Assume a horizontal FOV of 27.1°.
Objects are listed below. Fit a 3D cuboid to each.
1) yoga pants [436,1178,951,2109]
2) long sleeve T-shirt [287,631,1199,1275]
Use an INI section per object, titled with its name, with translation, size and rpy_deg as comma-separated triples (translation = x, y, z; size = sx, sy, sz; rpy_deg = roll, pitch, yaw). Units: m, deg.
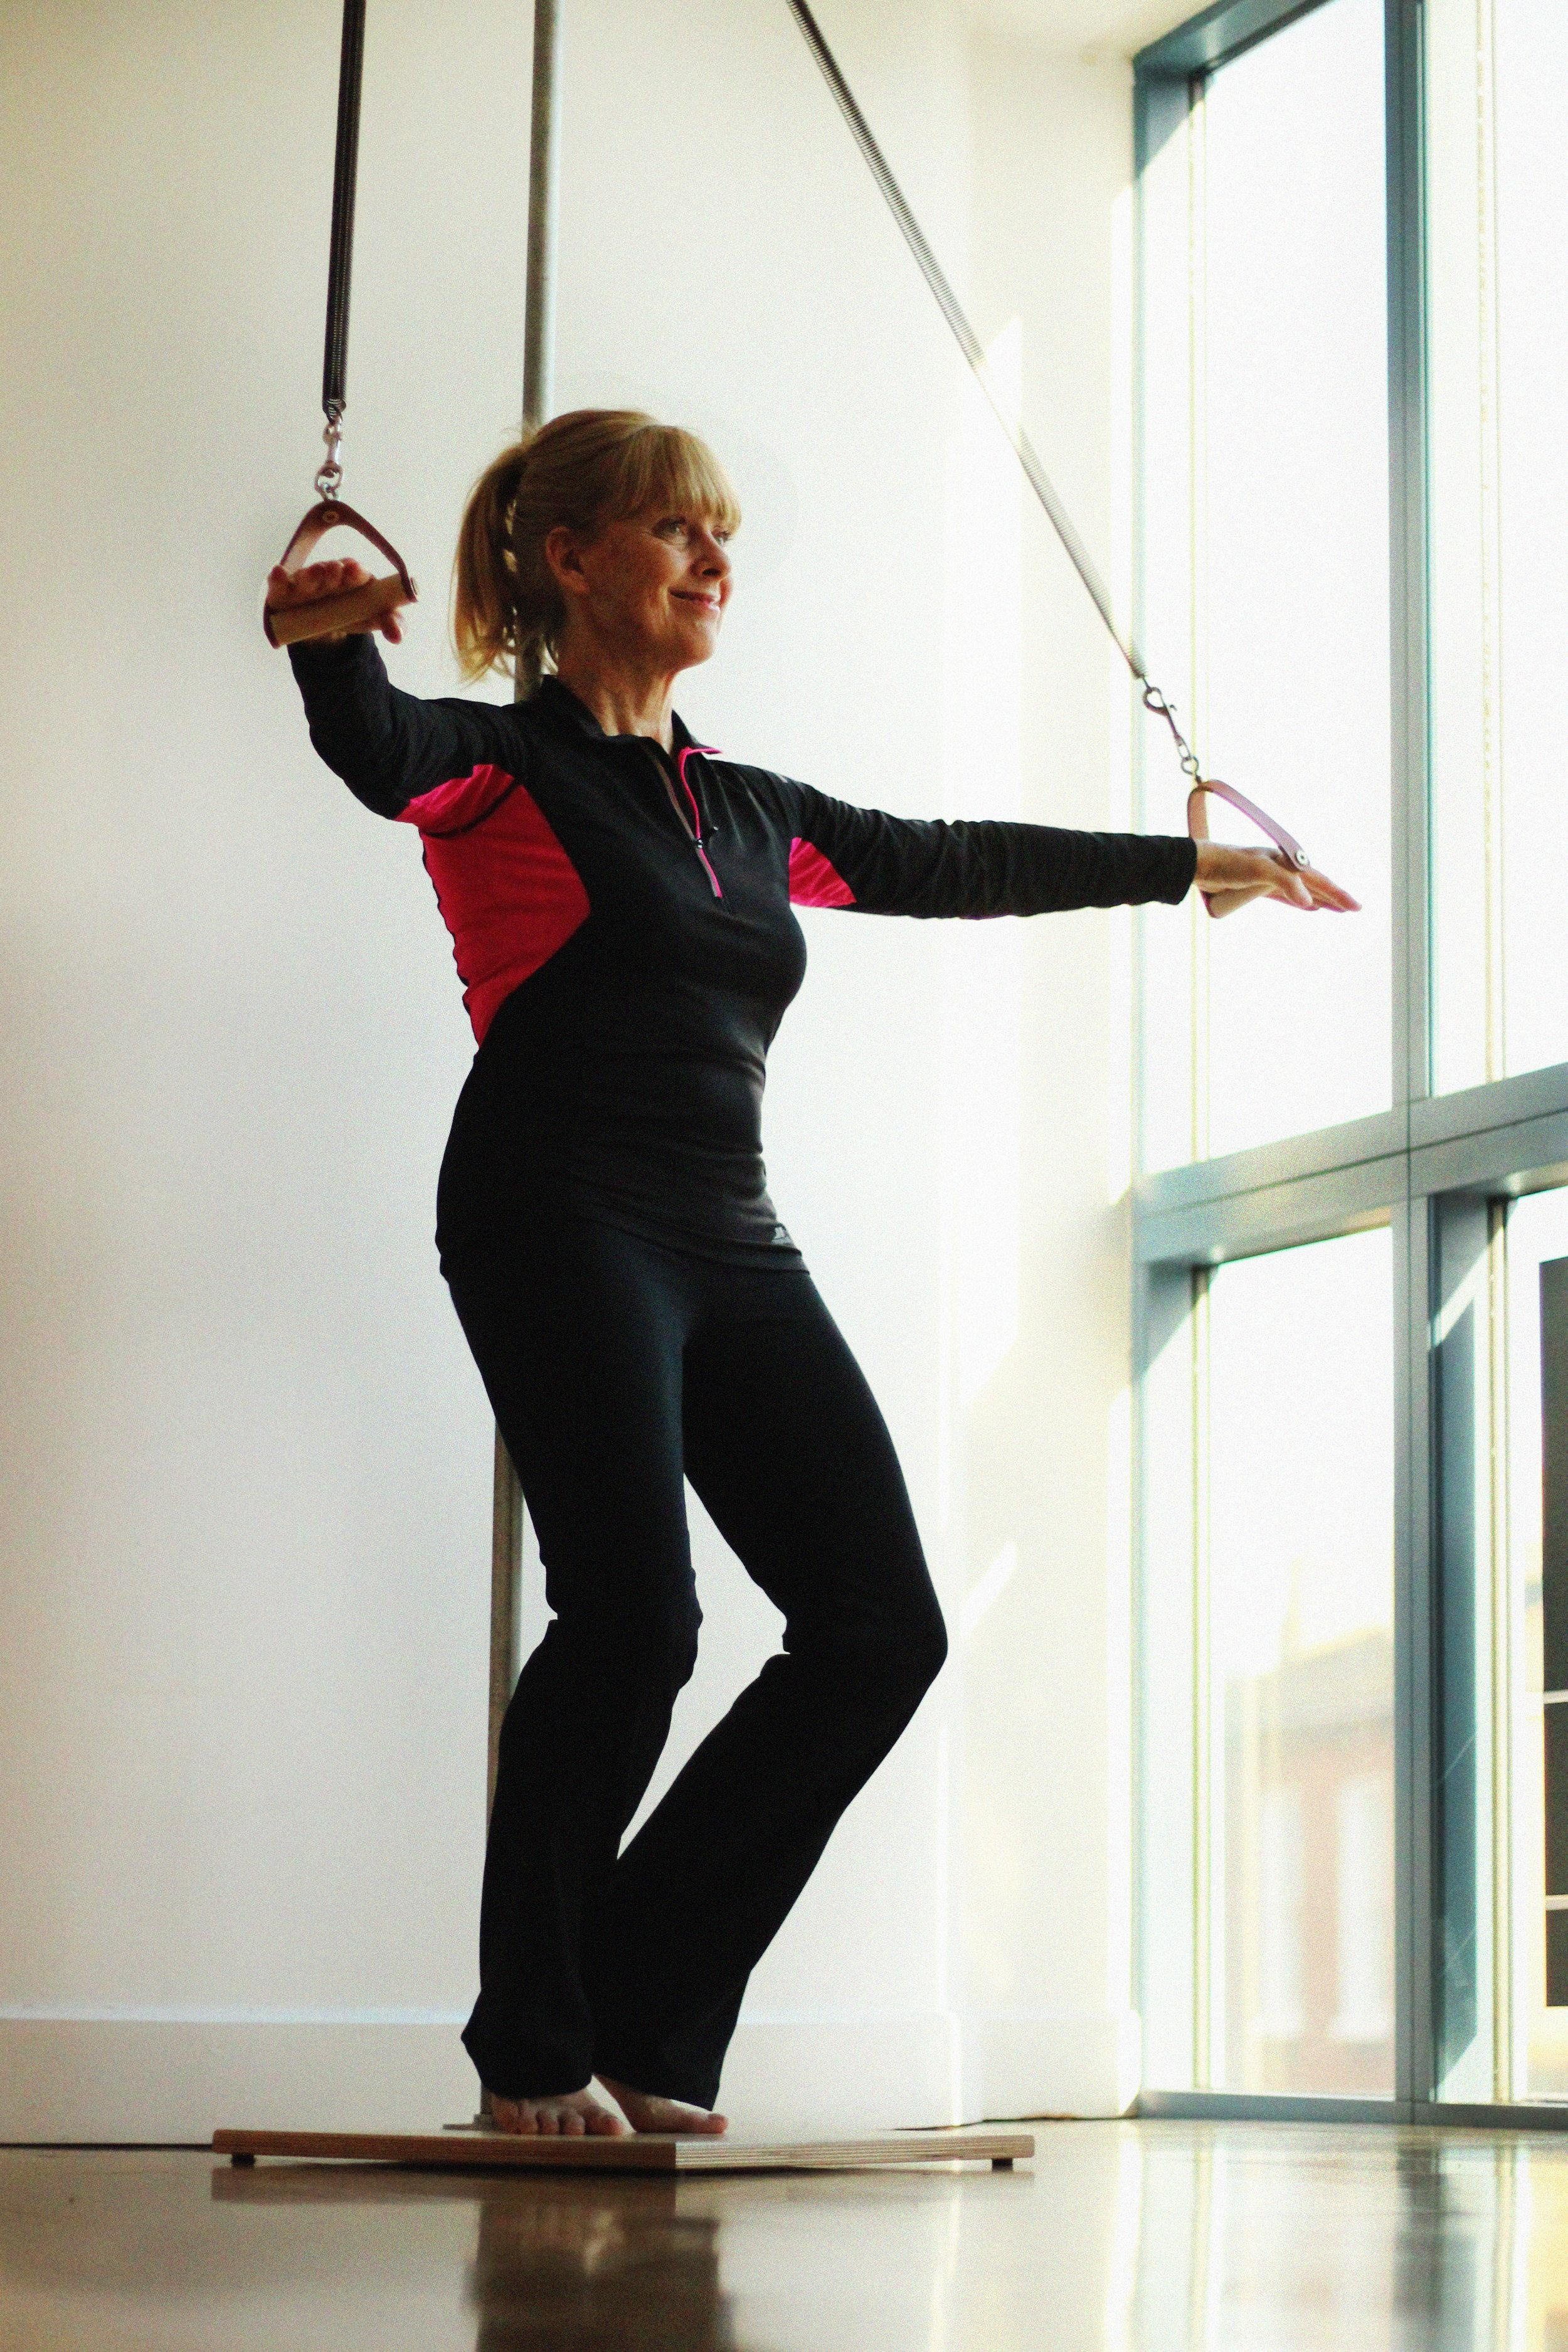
[yoga pants]
translation = -0.079, 0.359, 2.410
size = 0.367, 0.635, 0.175
rpy_deg = 8, -7, -34
[long sleeve T-shirt]
translation = -0.056, -0.195, 3.035
size = 0.746, 0.529, 0.253
rpy_deg = 15, -30, -43
